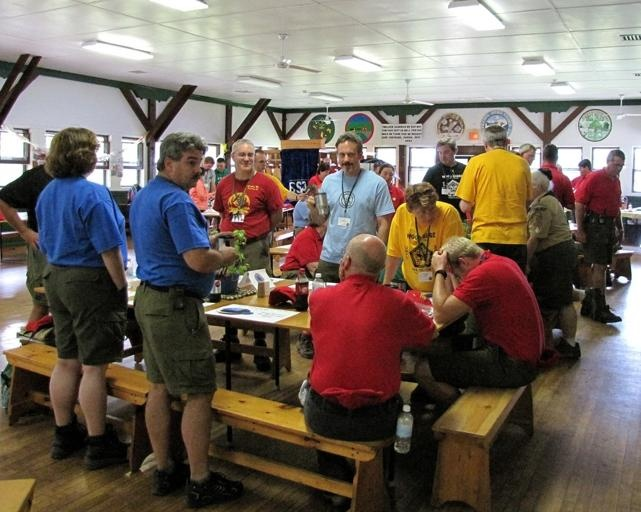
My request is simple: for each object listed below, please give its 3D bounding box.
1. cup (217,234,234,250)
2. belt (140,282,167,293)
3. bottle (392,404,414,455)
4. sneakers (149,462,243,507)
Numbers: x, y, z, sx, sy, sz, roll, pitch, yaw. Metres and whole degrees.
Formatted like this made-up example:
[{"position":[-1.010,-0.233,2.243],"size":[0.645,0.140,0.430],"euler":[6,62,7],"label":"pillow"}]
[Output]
[{"position":[-0.566,-0.077,3.030],"size":[0.114,0.096,0.078],"euler":[-1,5,6],"label":"cup"},{"position":[-0.843,0.163,2.562],"size":[0.083,0.017,0.075],"euler":[10,0,-39],"label":"belt"},{"position":[0.409,0.836,2.522],"size":[0.084,0.296,0.154],"euler":[3,11,9],"label":"bottle"},{"position":[-0.639,1.190,2.737],"size":[0.510,0.197,0.192],"euler":[0,-1,-1],"label":"sneakers"}]
